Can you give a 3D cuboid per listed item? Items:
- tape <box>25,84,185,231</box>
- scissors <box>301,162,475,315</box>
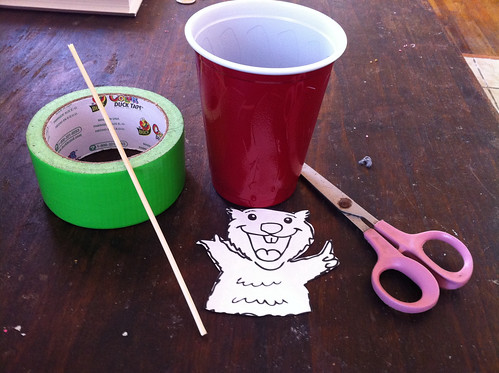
[{"bbox_3d":[-0.254,-0.057,0.832,0.255,0.147,0.275,25,42,21],"label":"tape"},{"bbox_3d":[0.233,0.074,0.782,0.192,0.171,0.254,-1,22,-25],"label":"scissors"}]
